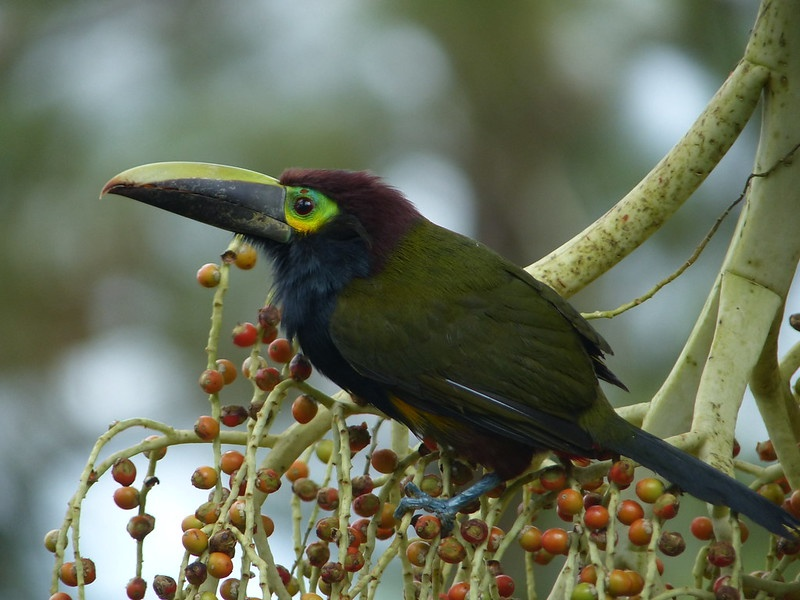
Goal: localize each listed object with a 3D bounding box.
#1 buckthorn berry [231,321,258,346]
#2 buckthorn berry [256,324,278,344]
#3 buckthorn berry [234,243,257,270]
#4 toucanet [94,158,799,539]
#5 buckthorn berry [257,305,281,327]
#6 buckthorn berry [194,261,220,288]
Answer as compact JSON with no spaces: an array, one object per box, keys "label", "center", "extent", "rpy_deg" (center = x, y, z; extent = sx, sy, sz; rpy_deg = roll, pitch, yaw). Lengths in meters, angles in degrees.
[{"label":"buckthorn berry","center":[-0.402,0.087,3.436],"extent":[0.059,0.061,0.074],"rpy_deg":[-5,90,27]},{"label":"buckthorn berry","center":[-0.348,0.090,3.438],"extent":[0.041,0.044,0.044],"rpy_deg":[-2,100,19]},{"label":"buckthorn berry","center":[-0.406,-0.114,3.486],"extent":[0.059,0.063,0.074],"rpy_deg":[0,89,5]},{"label":"toucanet","center":[0.072,0.101,4.009],"extent":[2.573,0.760,1.225],"rpy_deg":[-3,83,21]},{"label":"buckthorn berry","center":[-0.346,0.038,3.436],"extent":[0.055,0.043,0.049],"rpy_deg":[-3,85,43]},{"label":"buckthorn berry","center":[-0.515,-0.057,3.497],"extent":[0.060,0.063,0.075],"rpy_deg":[14,111,25]}]
